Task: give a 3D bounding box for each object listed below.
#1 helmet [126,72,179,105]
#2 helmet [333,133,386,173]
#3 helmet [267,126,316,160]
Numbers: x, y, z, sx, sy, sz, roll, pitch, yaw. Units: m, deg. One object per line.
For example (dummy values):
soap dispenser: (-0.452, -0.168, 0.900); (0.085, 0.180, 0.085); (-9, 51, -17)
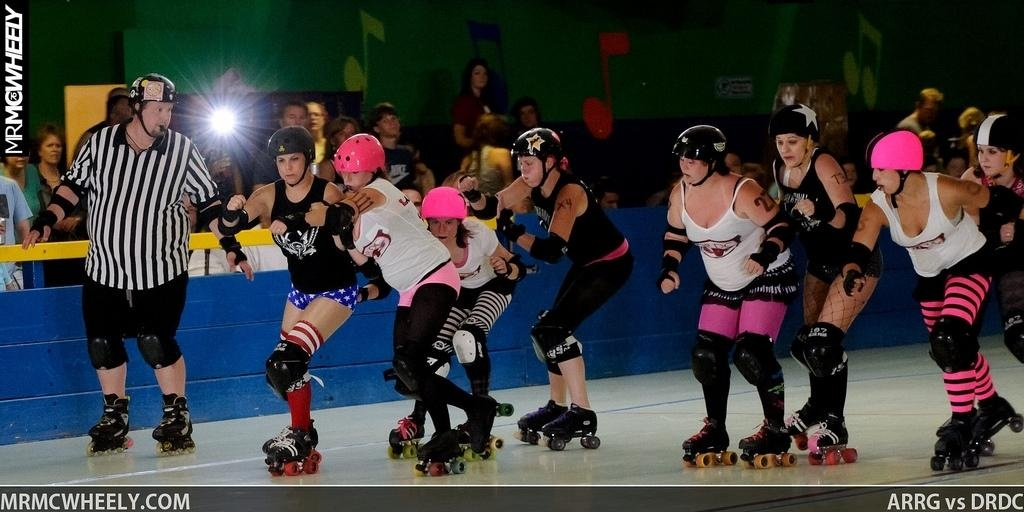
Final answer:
helmet: (-3.406, -1.602, 8.115); (0.426, 0.241, 0.283); (-1, 6, -16)
helmet: (-1.275, -0.859, 7.347); (0.416, 0.313, 0.302); (12, -7, -26)
helmet: (-1.931, -0.991, 7.552); (0.296, 0.249, 0.346); (0, -16, -14)
